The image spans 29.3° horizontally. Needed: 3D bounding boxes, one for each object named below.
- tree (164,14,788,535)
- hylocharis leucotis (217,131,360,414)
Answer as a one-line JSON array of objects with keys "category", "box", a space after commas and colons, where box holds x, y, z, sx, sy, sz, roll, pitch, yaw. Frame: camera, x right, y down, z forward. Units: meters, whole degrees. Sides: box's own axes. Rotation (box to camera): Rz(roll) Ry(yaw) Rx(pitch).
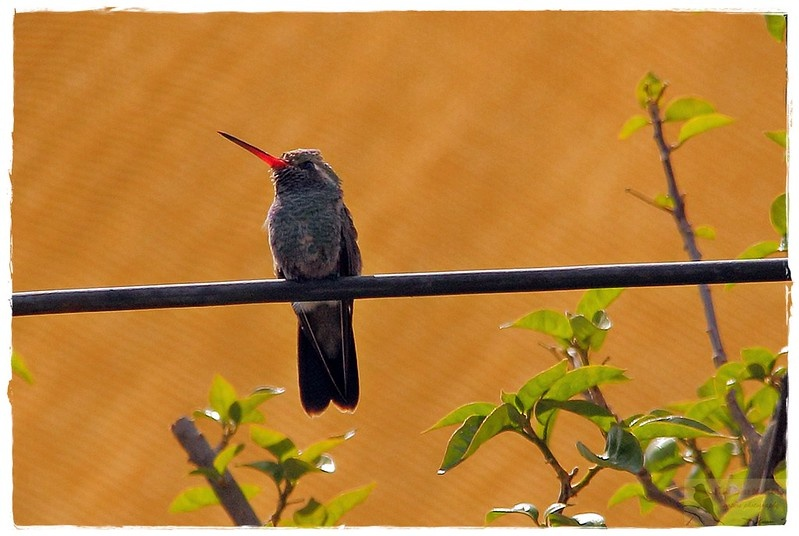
[{"category": "tree", "box": [0.478, 0.193, 6.892, 2.668, 2.205, 1.432, -13, -59, 3]}, {"category": "hylocharis leucotis", "box": [-0.409, 0.036, 7.481, 0.560, 0.672, 1.500, -9, -84, -7]}]
